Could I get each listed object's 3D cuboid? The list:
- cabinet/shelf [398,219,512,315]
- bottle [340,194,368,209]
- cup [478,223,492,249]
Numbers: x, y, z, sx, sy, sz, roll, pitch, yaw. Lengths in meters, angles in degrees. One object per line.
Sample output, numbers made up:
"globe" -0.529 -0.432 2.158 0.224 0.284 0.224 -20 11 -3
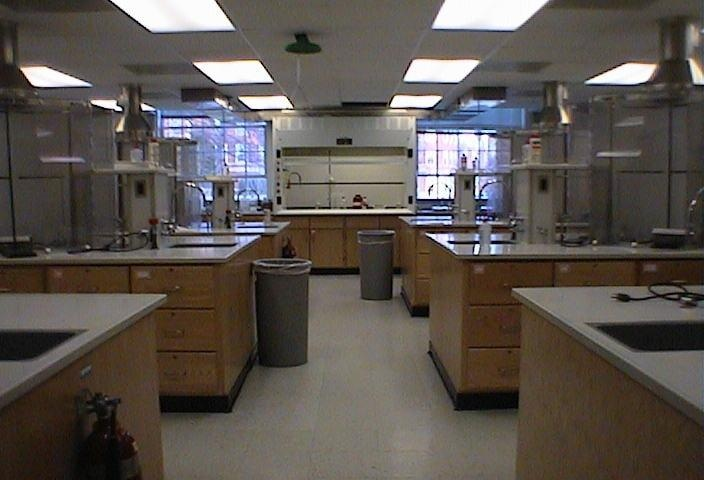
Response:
"cabinet/shelf" 1.103 0.243 7.326 1.142 1.046 1.174 -1 -1 2
"bottle" 0.030 -0.679 10.510 0.420 0.254 0.248 -1 5 5
"cup" 1.071 -0.042 4.904 0.151 0.224 0.155 -1 4 0
